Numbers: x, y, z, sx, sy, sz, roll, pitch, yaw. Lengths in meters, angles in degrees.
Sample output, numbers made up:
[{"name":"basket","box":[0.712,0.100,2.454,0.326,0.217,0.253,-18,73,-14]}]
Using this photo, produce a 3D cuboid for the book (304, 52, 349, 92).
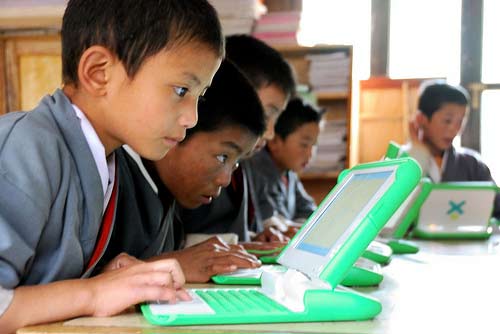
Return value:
[{"name":"book","box":[0.529,-0.639,3.042,0.290,0.264,0.075,0,12,8]}]

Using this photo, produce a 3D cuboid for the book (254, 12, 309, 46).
[{"name":"book","box":[0.183,-0.929,3.097,0.272,0.237,0.064,4,4,-5]}]
